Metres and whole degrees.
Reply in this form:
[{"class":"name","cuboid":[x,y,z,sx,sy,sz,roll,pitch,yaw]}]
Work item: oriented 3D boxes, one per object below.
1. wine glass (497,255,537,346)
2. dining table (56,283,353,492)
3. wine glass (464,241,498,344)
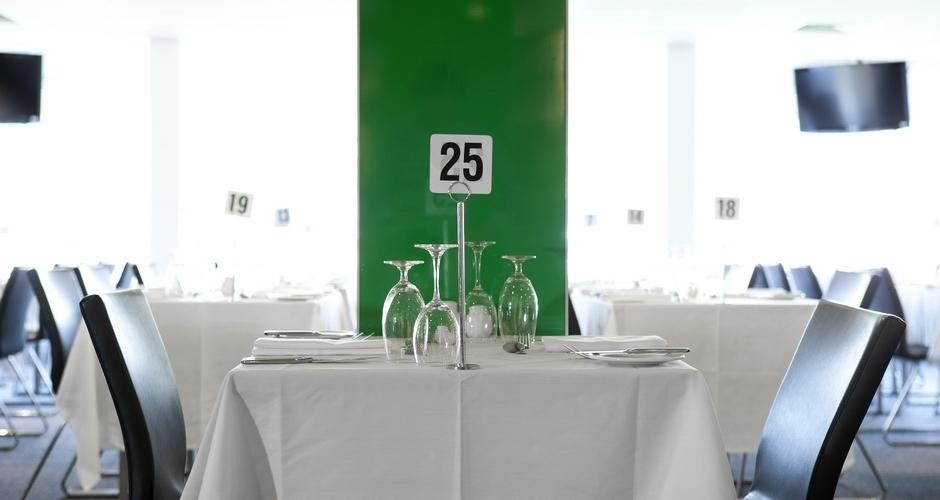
[{"class":"wine glass","cuboid":[0.387,0.440,6.665,0.318,0.759,0.317,0,3,5]},{"class":"dining table","cuboid":[-2.760,1.192,8.078,1.988,1.142,2.237,0,1,-3]},{"class":"wine glass","cuboid":[0.099,0.353,6.814,0.264,0.836,0.256,-1,3,0]}]
